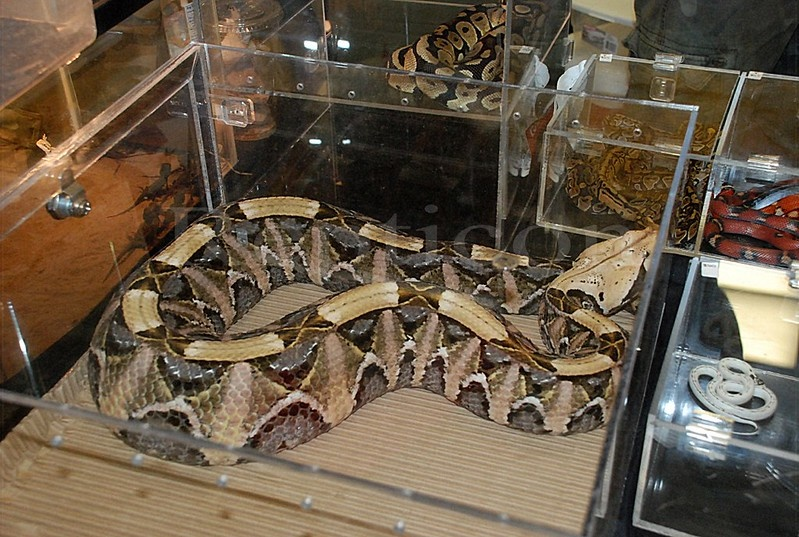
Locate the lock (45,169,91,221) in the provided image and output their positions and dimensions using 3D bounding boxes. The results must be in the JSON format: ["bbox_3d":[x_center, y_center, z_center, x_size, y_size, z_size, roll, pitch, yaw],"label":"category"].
[{"bbox_3d":[-2.446,-0.517,5.101,0.175,0.278,0.359,12,44,8],"label":"lock"}]

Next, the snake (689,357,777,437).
[{"bbox_3d":[2.414,0.906,4.943,0.594,0.097,0.598,-13,45,-18],"label":"snake"}]

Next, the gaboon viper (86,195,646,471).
[{"bbox_3d":[-0.274,0.480,4.892,3.315,0.575,1.804,2,39,2],"label":"gaboon viper"}]
